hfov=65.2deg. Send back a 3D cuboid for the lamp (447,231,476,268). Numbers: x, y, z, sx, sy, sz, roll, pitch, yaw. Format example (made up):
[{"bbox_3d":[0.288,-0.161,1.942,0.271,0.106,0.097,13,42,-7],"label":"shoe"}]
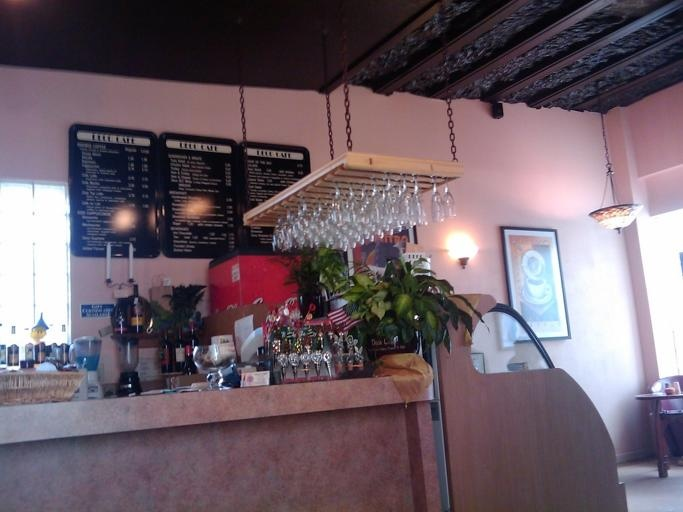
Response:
[{"bbox_3d":[1.344,-0.067,6.082,0.287,0.439,0.272,-2,-23,-7],"label":"lamp"}]

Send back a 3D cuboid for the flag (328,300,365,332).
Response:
[{"bbox_3d":[0.018,0.329,2.833,0.155,0.122,0.058,-42,17,-32],"label":"flag"}]

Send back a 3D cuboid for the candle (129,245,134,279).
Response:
[{"bbox_3d":[-1.797,0.048,4.543,0.043,0.317,0.049,1,-6,-26],"label":"candle"}]

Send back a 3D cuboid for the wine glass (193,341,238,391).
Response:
[{"bbox_3d":[-0.641,0.556,2.714,0.203,0.220,0.246,-2,-6,-1],"label":"wine glass"}]

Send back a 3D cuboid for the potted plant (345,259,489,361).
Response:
[{"bbox_3d":[0.385,0.271,2.932,0.761,0.518,0.309,-2,-6,0],"label":"potted plant"}]

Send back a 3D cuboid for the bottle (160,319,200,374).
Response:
[{"bbox_3d":[-1.319,0.748,4.309,0.311,0.405,0.215,-1,-6,-6],"label":"bottle"}]

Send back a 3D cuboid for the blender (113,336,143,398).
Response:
[{"bbox_3d":[-1.718,0.862,4.276,0.215,0.463,0.317,1,-6,-23],"label":"blender"}]

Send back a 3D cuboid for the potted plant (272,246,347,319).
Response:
[{"bbox_3d":[-0.154,0.162,3.197,0.398,0.412,0.459,-1,-6,-6],"label":"potted plant"}]

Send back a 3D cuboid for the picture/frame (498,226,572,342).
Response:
[{"bbox_3d":[2.355,0.326,6.492,0.926,1.386,0.166,1,-7,-28],"label":"picture/frame"}]

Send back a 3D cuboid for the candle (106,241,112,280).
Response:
[{"bbox_3d":[-1.955,0.047,4.473,0.045,0.334,0.043,1,-6,-26],"label":"candle"}]

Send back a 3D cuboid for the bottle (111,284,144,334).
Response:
[{"bbox_3d":[-1.750,0.431,4.377,0.274,0.412,0.263,-2,-6,0],"label":"bottle"}]

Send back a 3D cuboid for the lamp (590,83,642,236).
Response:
[{"bbox_3d":[3.466,-1.176,6.848,0.538,1.752,1.406,-5,-7,30],"label":"lamp"}]
